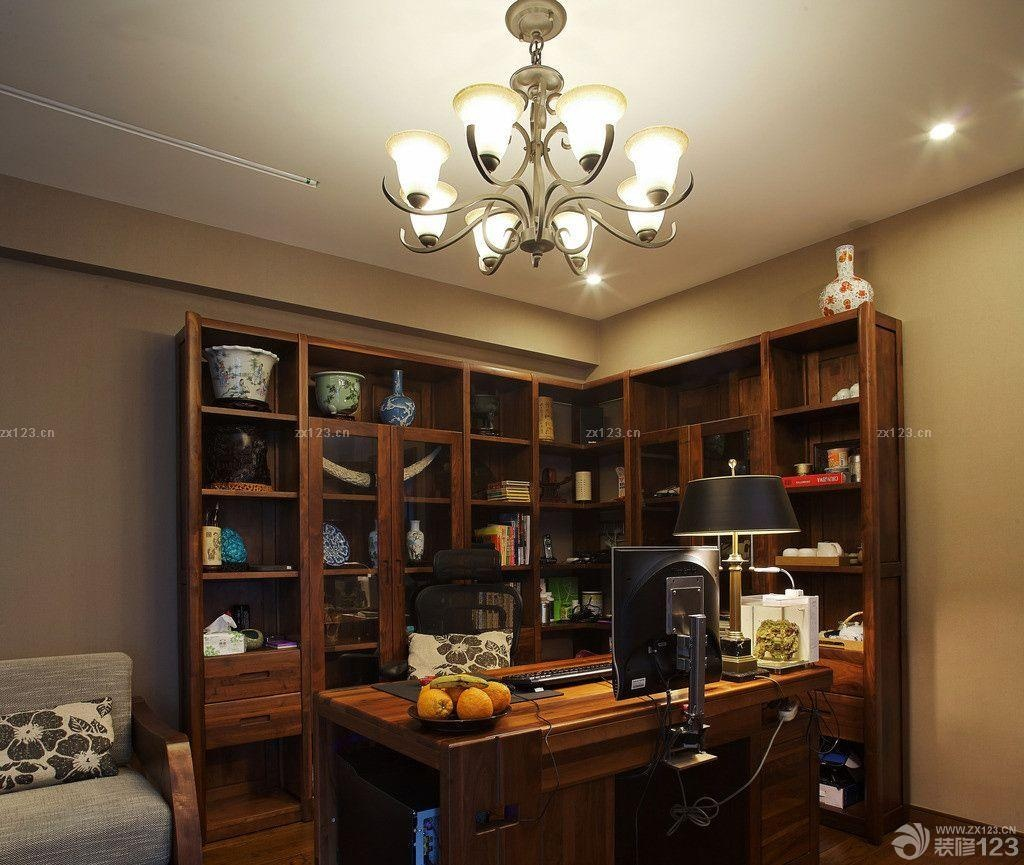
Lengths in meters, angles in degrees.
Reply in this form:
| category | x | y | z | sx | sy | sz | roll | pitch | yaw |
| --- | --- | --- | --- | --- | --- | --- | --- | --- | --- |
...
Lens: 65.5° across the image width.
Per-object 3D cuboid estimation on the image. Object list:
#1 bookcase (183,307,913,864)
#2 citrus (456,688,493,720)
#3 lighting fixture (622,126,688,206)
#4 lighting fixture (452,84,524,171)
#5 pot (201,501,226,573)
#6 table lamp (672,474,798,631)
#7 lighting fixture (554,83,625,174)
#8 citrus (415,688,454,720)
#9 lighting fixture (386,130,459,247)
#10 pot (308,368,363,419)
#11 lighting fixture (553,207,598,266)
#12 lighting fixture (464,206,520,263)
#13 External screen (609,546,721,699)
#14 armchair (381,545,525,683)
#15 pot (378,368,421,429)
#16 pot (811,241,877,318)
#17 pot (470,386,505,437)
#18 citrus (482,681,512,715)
| category | x | y | z | sx | sy | sz | roll | pitch | yaw |
| --- | --- | --- | --- | --- | --- | --- | --- | --- | --- |
| bookcase | 0.000 | 0.474 | 4.511 | 2.788 | 2.633 | 2.855 | 3 | -7 | -31 |
| citrus | -0.112 | 0.801 | 2.347 | 0.080 | 0.092 | 0.084 | -1 | 2 | 25 |
| lighting fixture | 0.486 | -0.897 | 2.735 | 0.224 | 0.209 | 0.223 | -2 | -6 | -3 |
| lighting fixture | -0.076 | -0.972 | 2.623 | 0.251 | 0.231 | 0.260 | 2 | 5 | 37 |
| pot | -1.562 | 0.531 | 4.141 | 0.099 | 0.345 | 0.314 | 1 | -10 | -19 |
| table lamp | 0.893 | 0.478 | 3.218 | 0.435 | 0.873 | 0.469 | -2 | -2 | 14 |
| lighting fixture | 0.241 | -0.986 | 2.646 | 0.235 | 0.231 | 0.239 | -1 | 0 | -10 |
| citrus | -0.229 | 0.801 | 2.350 | 0.088 | 0.072 | 0.076 | 20 | -35 | 31 |
| lighting fixture | -0.324 | -0.860 | 2.826 | 0.222 | 0.324 | 0.425 | -2 | -10 | -3 |
| pot | -1.007 | -0.214 | 4.612 | 0.245 | 0.209 | 0.256 | -1 | -7 | 0 |
| lighting fixture | 0.266 | -0.746 | 3.079 | 0.172 | 0.226 | 0.177 | -1 | -2 | 40 |
| lighting fixture | -0.083 | -0.767 | 3.083 | 0.154 | 0.247 | 0.243 | 3 | -11 | -30 |
| External screen | 0.505 | 0.637 | 2.654 | 0.464 | 0.516 | 0.154 | 3 | -3 | -34 |
| armchair | -0.249 | 0.930 | 4.088 | 0.540 | 0.851 | 0.591 | 0 | -12 | 1 |
| pot | -0.711 | -0.189 | 4.925 | 0.207 | 0.402 | 0.225 | -3 | -16 | -1 |
| pot | 1.805 | -0.805 | 4.275 | 0.237 | 0.391 | 0.255 | -6 | -5 | -1 |
| pot | -0.139 | -0.143 | 5.294 | 0.240 | 0.295 | 0.255 | 0 | -2 | 0 |
| citrus | -0.051 | 0.835 | 2.484 | 0.071 | 0.093 | 0.080 | 24 | -48 | -13 |
